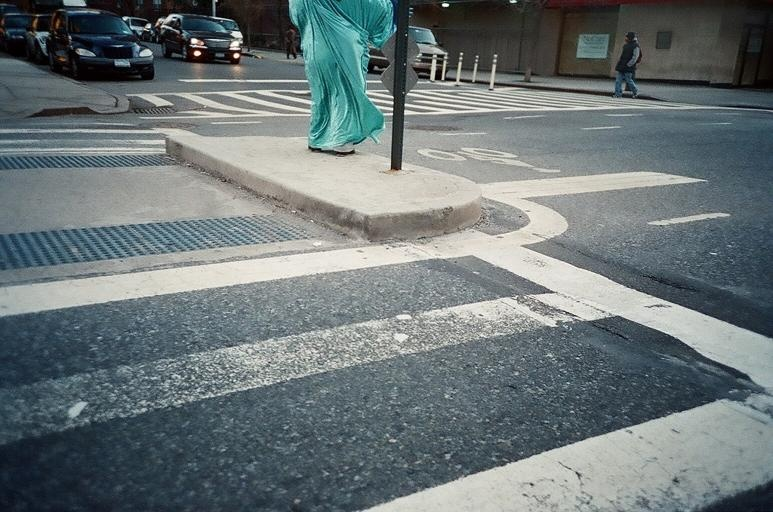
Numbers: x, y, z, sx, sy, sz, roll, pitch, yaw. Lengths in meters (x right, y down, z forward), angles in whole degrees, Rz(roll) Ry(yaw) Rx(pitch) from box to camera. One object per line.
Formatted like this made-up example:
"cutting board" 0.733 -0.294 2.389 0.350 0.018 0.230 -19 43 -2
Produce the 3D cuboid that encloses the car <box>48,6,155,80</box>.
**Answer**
"car" -10.613 -7.793 20.149 2.524 2.402 3.571 -16 28 -36

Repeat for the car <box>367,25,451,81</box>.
"car" 1.265 -10.473 27.518 1.870 1.441 3.869 21 24 40
